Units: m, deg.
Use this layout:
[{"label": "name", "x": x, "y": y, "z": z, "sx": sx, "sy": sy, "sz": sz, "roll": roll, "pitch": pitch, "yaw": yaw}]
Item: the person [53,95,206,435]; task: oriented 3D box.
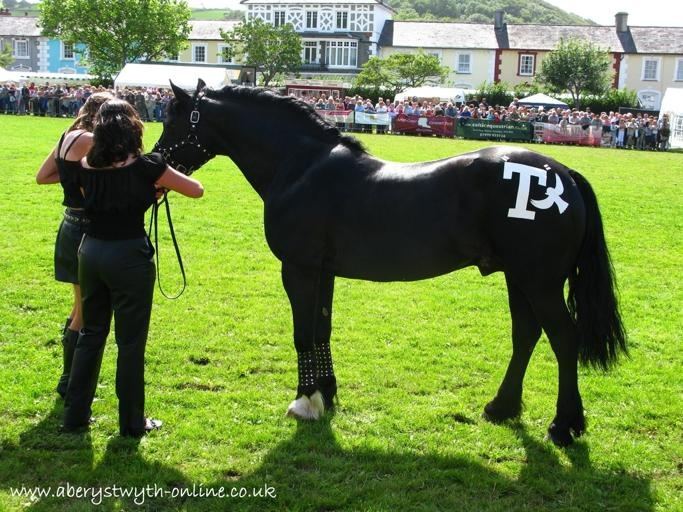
[{"label": "person", "x": -1.956, "y": 0.138, "z": 7.025, "sx": 0.972, "sy": 2.936, "sz": 0.336, "roll": 3, "pitch": 9, "yaw": 7}]

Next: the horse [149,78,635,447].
[{"label": "horse", "x": 0.337, "y": 0.089, "z": 7.715, "sx": 4.749, "sy": 2.993, "sz": 1.075, "roll": 5, "pitch": 5, "yaw": 8}]
